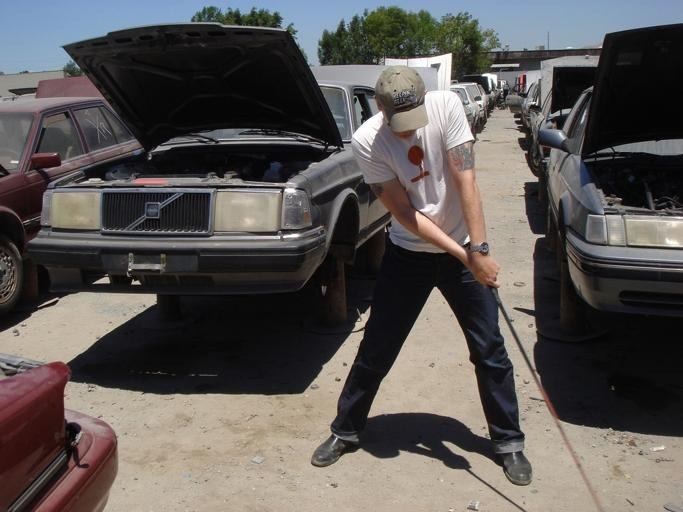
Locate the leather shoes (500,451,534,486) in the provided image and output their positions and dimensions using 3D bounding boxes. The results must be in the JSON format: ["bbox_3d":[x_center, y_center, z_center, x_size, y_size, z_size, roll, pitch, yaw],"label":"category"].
[{"bbox_3d":[0.972,1.173,2.888,0.104,0.088,0.221,-4,3,-11],"label":"leather shoes"}]

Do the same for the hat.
[{"bbox_3d":[0.294,-0.793,2.571,0.253,0.327,0.263,-2,17,7],"label":"hat"}]

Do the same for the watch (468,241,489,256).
[{"bbox_3d":[0.703,-0.046,2.671,0.091,0.056,0.094,-4,-10,42],"label":"watch"}]

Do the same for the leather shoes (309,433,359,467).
[{"bbox_3d":[-0.028,1.126,3.138,0.130,0.135,0.346,9,13,42],"label":"leather shoes"}]

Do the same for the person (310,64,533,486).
[{"bbox_3d":[0.455,0.123,2.822,1.161,2.242,0.485,0,18,12],"label":"person"}]
